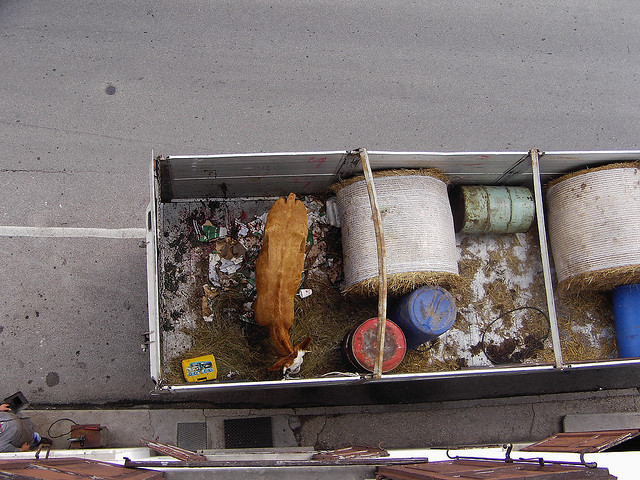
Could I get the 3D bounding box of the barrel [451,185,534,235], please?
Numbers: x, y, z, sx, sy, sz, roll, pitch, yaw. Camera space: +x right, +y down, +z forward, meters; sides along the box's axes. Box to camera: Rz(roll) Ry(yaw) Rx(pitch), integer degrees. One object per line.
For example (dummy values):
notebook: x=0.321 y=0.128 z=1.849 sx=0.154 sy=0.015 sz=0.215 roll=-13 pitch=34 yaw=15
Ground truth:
barrel: x=2.431 y=-0.420 z=12.790 sx=1.109 sy=0.650 sz=0.319 roll=-1 pitch=7 yaw=-13

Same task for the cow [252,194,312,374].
cow: x=-0.758 y=0.588 z=12.006 sx=0.681 sy=2.204 sz=1.114 roll=0 pitch=4 yaw=-12

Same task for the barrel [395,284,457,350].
barrel: x=1.400 y=1.012 z=12.468 sx=0.784 sy=0.724 sz=1.282 roll=11 pitch=-13 yaw=-3
